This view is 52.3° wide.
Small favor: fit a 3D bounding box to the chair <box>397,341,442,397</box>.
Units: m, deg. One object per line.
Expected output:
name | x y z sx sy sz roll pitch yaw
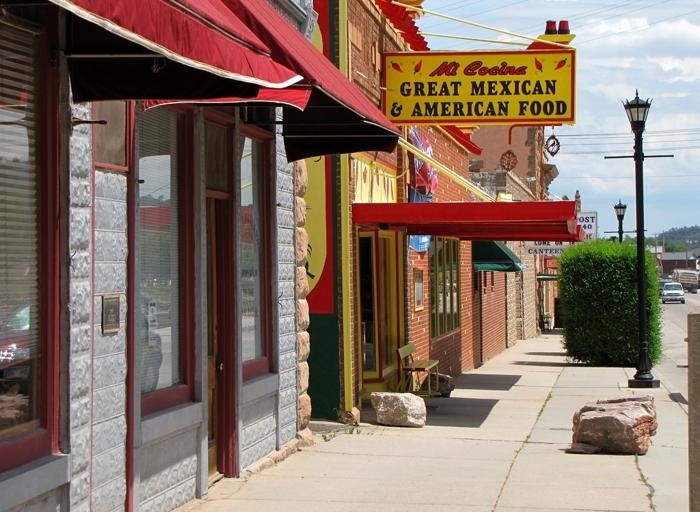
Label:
chair | 1.396 2.249 14.162 0.688 0.959 0.956 -4 -2 22
